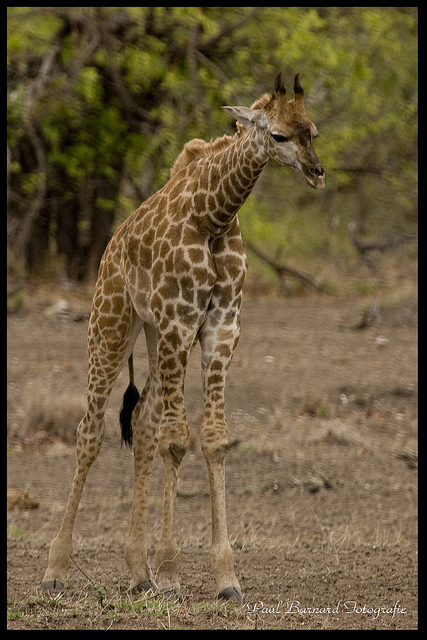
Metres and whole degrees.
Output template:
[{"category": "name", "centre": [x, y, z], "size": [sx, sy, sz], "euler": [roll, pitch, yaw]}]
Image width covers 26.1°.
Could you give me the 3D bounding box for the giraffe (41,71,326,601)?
[{"category": "giraffe", "centre": [-0.220, 0.074, 5.484], "size": [1.641, 3.041, 1.309], "euler": [23, 33, 35]}]
